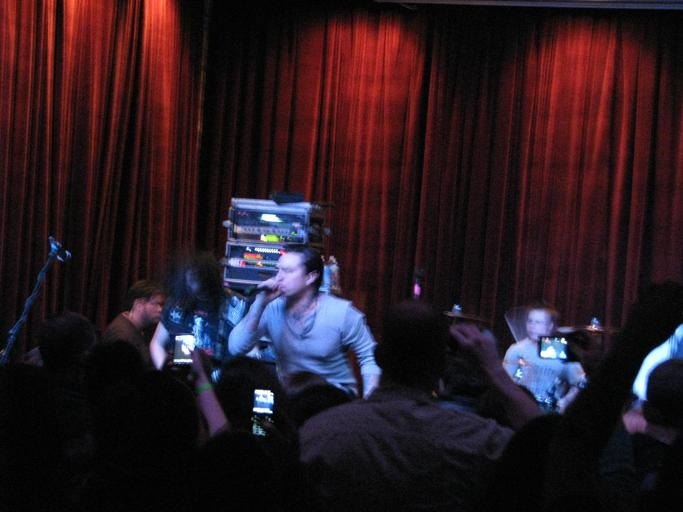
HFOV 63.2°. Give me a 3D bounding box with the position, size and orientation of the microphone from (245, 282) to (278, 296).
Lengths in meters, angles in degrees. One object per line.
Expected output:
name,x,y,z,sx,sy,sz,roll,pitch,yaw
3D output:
microphone,-0.412,0.169,2.719,0.221,0.058,0.086,-5,-9,36

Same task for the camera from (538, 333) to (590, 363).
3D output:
camera,1.266,0.526,3.143,0.230,0.172,0.055,2,3,6
